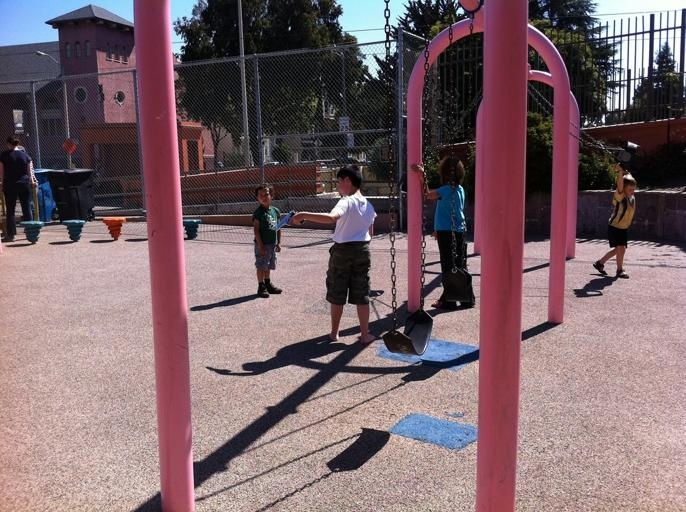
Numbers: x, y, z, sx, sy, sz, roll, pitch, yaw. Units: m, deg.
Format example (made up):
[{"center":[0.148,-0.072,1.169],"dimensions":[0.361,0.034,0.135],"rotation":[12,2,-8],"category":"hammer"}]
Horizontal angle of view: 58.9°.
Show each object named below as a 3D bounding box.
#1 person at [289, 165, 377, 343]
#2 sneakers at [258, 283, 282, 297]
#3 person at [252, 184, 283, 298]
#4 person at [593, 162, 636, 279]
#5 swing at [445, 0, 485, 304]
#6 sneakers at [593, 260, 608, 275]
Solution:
[{"center":[0.019,0.036,6.314],"dimensions":[0.475,1.880,1.147],"rotation":[4,12,27],"category":"person"},{"center":[-1.007,0.472,8.426],"dimensions":[0.357,0.195,0.141],"rotation":[-4,12,-22],"category":"sneakers"},{"center":[-1.040,-0.218,8.392],"dimensions":[0.432,1.506,0.385],"rotation":[-6,11,-29],"category":"person"},{"center":[4.111,-0.542,9.227],"dimensions":[0.488,1.704,0.587],"rotation":[7,13,38],"category":"person"},{"center":[1.295,-0.950,6.992],"dimensions":[0.469,3.528,2.128],"rotation":[1,11,12],"category":"swing"},{"center":[3.984,0.187,9.446],"dimensions":[0.117,0.170,0.350],"rotation":[24,7,39],"category":"sneakers"}]
